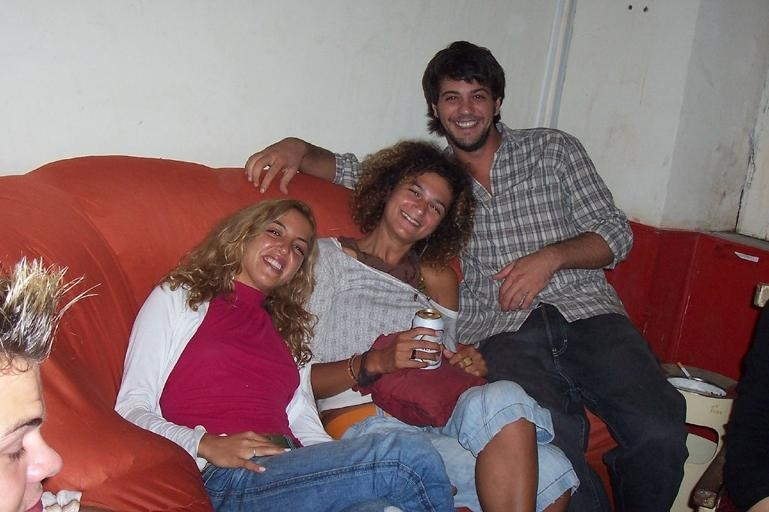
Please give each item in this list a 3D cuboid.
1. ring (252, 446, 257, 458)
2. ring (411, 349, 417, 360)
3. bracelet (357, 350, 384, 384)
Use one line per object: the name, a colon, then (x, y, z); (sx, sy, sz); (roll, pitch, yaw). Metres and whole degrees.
ring: (-0.426, 0.645, 1.931); (0.014, 0.044, 0.033); (0, 7, -11)
ring: (0.106, 0.363, 2.160); (0.019, 0.028, 0.027); (4, -12, 11)
bracelet: (-0.057, 0.425, 2.256); (0.060, 0.114, 0.084); (-3, 11, 3)
